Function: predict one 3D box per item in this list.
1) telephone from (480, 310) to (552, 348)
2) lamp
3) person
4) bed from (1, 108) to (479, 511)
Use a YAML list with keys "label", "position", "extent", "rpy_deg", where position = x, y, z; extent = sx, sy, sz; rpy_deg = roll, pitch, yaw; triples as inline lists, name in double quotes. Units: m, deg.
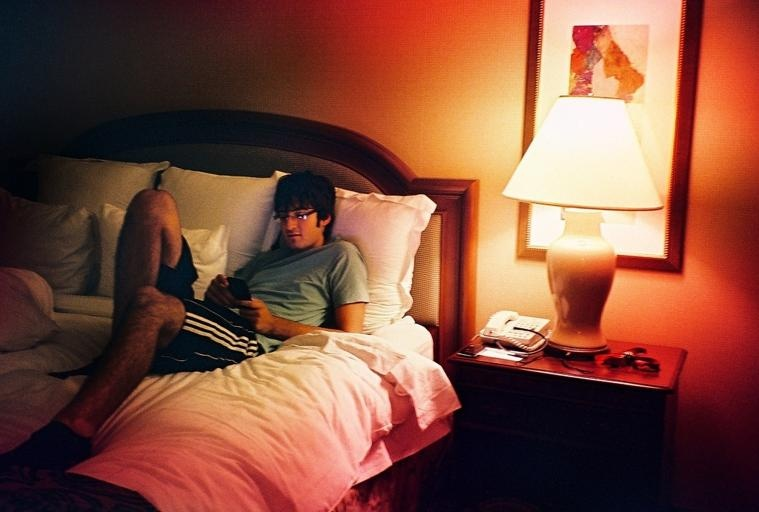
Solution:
- label: "telephone"
  position: [0.573, 0.295, 2.332]
  extent: [0.259, 0.082, 0.269]
  rpy_deg: [-16, 14, -32]
- label: "lamp"
  position: [0.753, -0.120, 2.128]
  extent: [0.555, 0.970, 0.201]
  rpy_deg: [5, 6, 0]
- label: "person"
  position: [-0.681, 0.075, 2.107]
  extent: [0.727, 0.879, 1.309]
  rpy_deg: [10, 8, 40]
- label: "bed"
  position: [-0.456, 0.209, 2.144]
  extent: [1.867, 1.311, 0.959]
  rpy_deg: [2, 4, 19]
